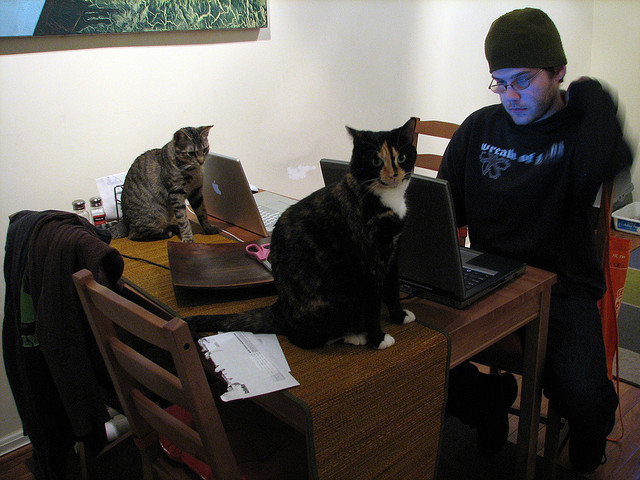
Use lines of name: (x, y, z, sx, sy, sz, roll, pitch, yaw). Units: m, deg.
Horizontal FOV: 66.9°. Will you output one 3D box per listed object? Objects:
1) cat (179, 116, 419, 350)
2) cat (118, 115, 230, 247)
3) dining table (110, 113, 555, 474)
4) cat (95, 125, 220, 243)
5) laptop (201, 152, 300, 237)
cat: (-0.068, 0.000, 1.321, 0.661, 0.585, 0.262, -7, 14, 8)
cat: (-0.505, -0.294, 2.136, 0.555, 0.662, 0.379, 3, 22, -2)
dining table: (0.059, 0.189, 1.472, 0.635, 0.796, 1.090, -28, 39, -37)
cat: (-0.716, -0.252, 2.012, 0.535, 0.512, 0.217, 7, 23, 4)
laptop: (-0.259, -0.211, 2.059, 0.445, 0.302, 0.353, 18, 26, 40)
